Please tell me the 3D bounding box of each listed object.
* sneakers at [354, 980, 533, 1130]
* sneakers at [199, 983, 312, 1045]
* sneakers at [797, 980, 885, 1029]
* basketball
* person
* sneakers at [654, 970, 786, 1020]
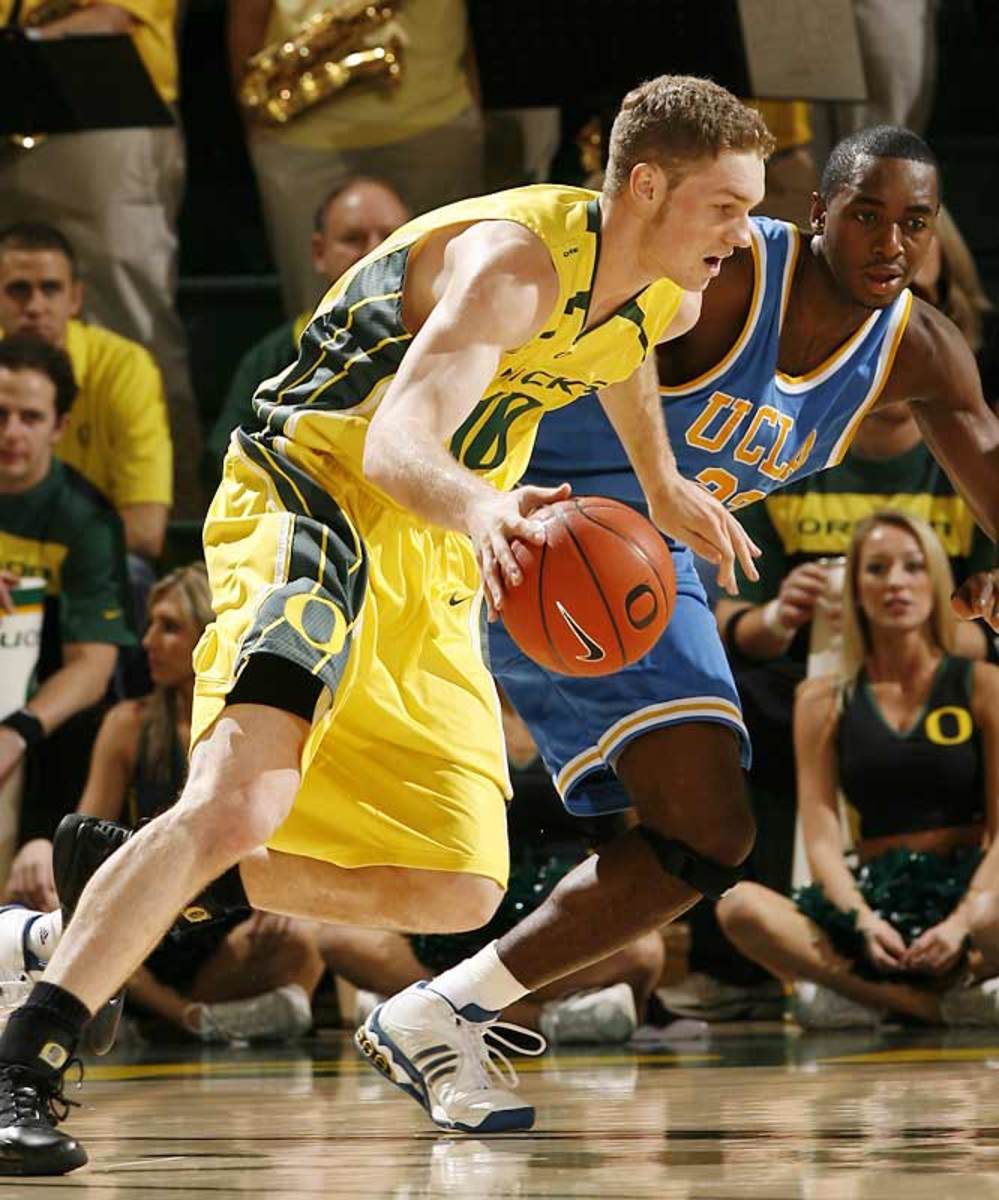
[{"bbox_3d":[-0.049,0.557,1.583,0.100,0.110,0.263,14,2,-39],"label":"sneakers"},{"bbox_3d":[-0.620,0.967,3.055,0.343,0.089,0.128,-4,0,6],"label":"sneakers"},{"bbox_3d":[0.757,0.922,2.921,0.122,0.053,0.156,23,-10,-38],"label":"sneakers"},{"bbox_3d":[0.083,-0.014,1.195,0.198,0.171,0.182,-2,7,8],"label":"basketball"},{"bbox_3d":[-0.164,0.046,2.000,1.434,1.351,1.152,-4,-8,32],"label":"person"},{"bbox_3d":[0.534,0.948,3.170,0.405,0.134,0.120,6,-6,-13],"label":"sneakers"}]
